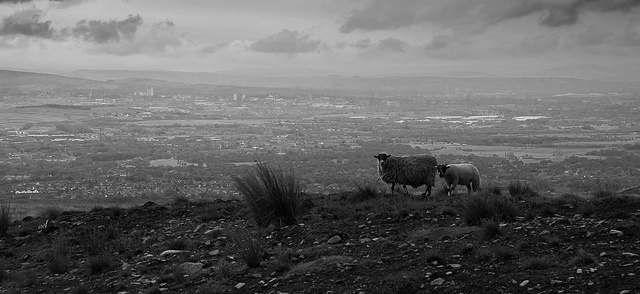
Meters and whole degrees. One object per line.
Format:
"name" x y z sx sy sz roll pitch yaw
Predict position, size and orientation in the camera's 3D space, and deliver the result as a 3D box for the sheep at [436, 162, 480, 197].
"sheep" 7.573 1.668 24.247 1.681 1.661 2.058 3 10 30
